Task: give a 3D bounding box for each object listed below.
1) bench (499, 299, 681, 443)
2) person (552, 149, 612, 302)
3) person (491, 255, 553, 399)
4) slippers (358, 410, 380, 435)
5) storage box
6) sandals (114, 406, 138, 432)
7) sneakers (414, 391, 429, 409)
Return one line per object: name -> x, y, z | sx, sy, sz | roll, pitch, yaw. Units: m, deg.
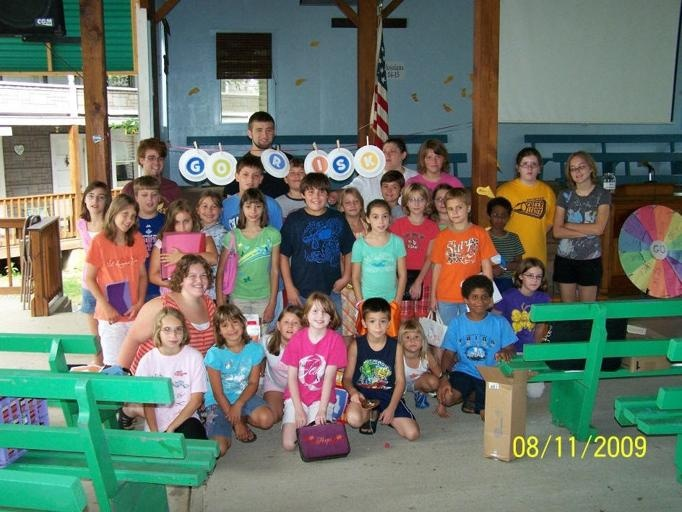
bench -> 1.785, 0.859, 4.462 | 0.922, 0.619, 0.425 | -2, 15, -6
person -> 2.260, -0.262, 5.853 | 0.478, 1.435, 0.365 | 5, 16, 24
person -> 1.532, 0.684, 5.566 | 0.559, 1.337, 0.406 | 8, 17, 8
slippers -> 0.198, 1.260, 4.678 | 0.109, 0.139, 0.331 | -2, -15, 7
storage box -> 1.195, 1.103, 4.406 | 0.385, 0.558, 0.388 | -3, -9, 35
sandals -> -1.588, 1.217, 4.612 | 0.133, 0.167, 0.415 | 3, -11, -13
sneakers -> 0.654, 1.193, 5.138 | 0.090, 0.142, 0.139 | 7, -14, -43
